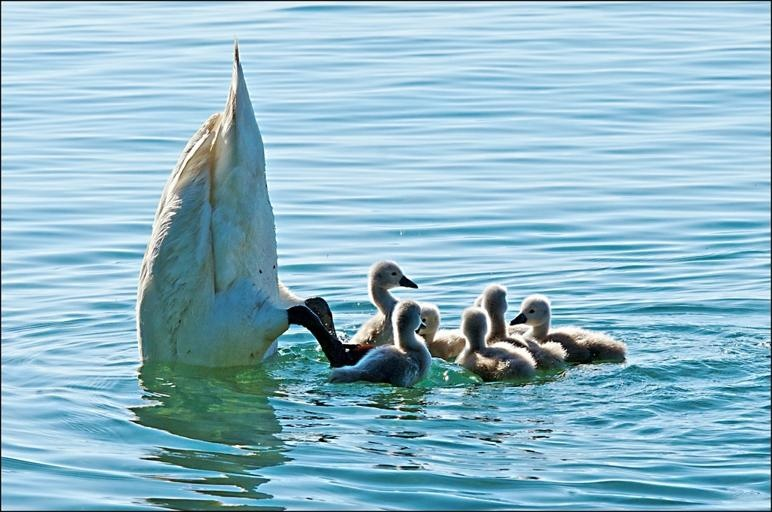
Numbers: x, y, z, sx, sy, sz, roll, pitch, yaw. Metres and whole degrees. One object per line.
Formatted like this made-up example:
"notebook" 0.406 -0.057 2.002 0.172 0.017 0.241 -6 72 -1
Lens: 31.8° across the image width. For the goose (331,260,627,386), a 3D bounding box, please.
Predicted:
"goose" 1.120 1.084 20.002 3.916 1.293 2.193 1 8 -1
